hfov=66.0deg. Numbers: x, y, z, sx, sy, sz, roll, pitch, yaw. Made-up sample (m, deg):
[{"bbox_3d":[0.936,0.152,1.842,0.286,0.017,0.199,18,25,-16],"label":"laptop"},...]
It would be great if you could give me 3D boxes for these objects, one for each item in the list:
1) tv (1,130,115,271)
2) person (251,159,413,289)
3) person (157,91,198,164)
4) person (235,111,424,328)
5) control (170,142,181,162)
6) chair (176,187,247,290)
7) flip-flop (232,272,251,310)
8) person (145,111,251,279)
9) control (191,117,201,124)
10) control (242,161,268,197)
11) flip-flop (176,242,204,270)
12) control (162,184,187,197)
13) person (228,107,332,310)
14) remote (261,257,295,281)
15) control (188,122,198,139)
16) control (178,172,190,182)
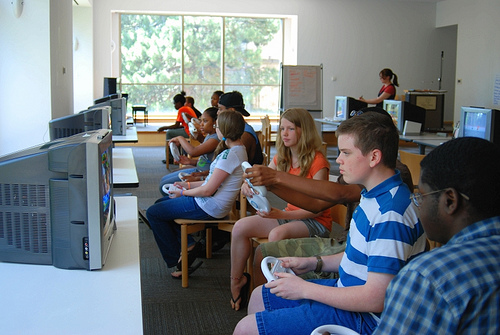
[{"bbox_3d":[-0.764,0.124,1.785,0.491,0.512,0.515,1,6,3],"label":"tv"},{"bbox_3d":[0.438,0.313,2.615,0.873,1.299,0.705,-1,1,-9],"label":"person"},{"bbox_3d":[-1.363,-0.799,7.246,0.717,1.277,0.475,0,7,7],"label":"person"},{"bbox_3d":[0.359,0.178,2.067,0.919,1.368,0.693,2,5,11],"label":"person"},{"bbox_3d":[-0.689,-0.153,3.578,0.091,0.193,0.387,-1,14,-11],"label":"control"},{"bbox_3d":[-0.283,0.465,3.023,0.473,0.766,0.429,3,3,-5],"label":"chair"},{"bbox_3d":[-0.040,0.831,2.576,0.080,0.228,0.079,2,15,-7],"label":"flip-flop"},{"bbox_3d":[-0.400,0.187,2.957,0.737,1.275,0.519,4,6,6],"label":"person"},{"bbox_3d":[-0.628,-0.546,4.384,0.067,0.035,0.093,31,-2,9],"label":"control"},{"bbox_3d":[0.024,0.065,2.010,0.124,0.190,0.249,2,13,-2],"label":"control"},{"bbox_3d":[-0.443,0.669,3.005,0.076,0.283,0.099,36,-24,4],"label":"flip-flop"},{"bbox_3d":[-0.616,0.170,3.064,0.201,0.052,0.120,-5,49,2],"label":"control"},{"bbox_3d":[0.207,0.255,2.552,0.697,1.270,0.449,1,4,-8],"label":"person"},{"bbox_3d":[0.104,0.429,1.637,0.105,0.024,0.104,24,25,-32],"label":"remote"},{"bbox_3d":[-0.647,-0.434,4.375,0.091,0.189,0.153,-1,14,-11],"label":"control"},{"bbox_3d":[-0.618,0.081,3.571,0.096,0.049,0.073,8,12,10],"label":"control"}]
